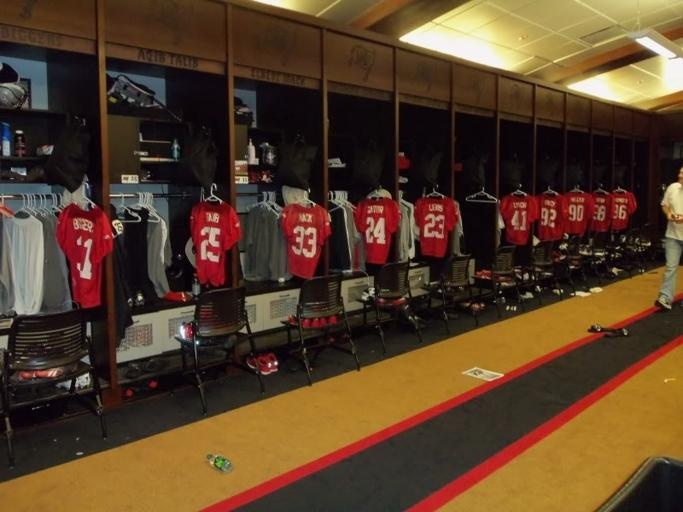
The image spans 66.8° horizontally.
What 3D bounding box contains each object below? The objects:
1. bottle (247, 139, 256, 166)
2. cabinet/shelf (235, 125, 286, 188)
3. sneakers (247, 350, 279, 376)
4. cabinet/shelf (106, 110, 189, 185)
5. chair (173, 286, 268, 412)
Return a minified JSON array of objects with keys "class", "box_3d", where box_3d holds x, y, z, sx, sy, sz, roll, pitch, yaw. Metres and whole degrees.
[{"class":"bottle","box_3d":[-1.024,-1.186,5.970,0.097,0.276,0.274,-2,12,-6]},{"class":"cabinet/shelf","box_3d":[-0.930,-1.121,5.906,0.264,0.791,0.819,-1,1,37]},{"class":"sneakers","box_3d":[-0.793,1.079,5.347,0.314,0.131,0.204,14,14,41]},{"class":"cabinet/shelf","box_3d":[-1.914,-1.040,5.058,0.248,0.438,0.853,0,4,15]},{"class":"chair","box_3d":[-1.150,0.774,4.911,0.756,1.032,0.810,-8,14,-32]}]
